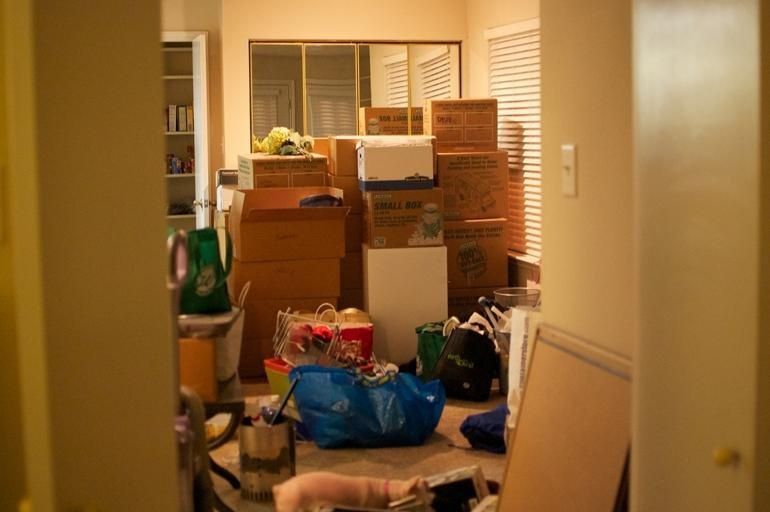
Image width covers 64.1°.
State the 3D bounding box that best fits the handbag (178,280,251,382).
[{"bbox_3d":[-0.791,0.414,3.095,0.330,0.538,0.301,2,10,-1],"label":"handbag"}]

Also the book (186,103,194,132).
[{"bbox_3d":[-2.077,-1.452,6.527,0.087,0.279,0.280,-1,5,-9],"label":"book"}]

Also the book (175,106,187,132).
[{"bbox_3d":[-2.172,-1.450,6.523,0.134,0.243,0.253,0,4,-8],"label":"book"}]

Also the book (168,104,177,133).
[{"bbox_3d":[-2.259,-1.449,6.521,0.110,0.290,0.113,-1,7,-1],"label":"book"}]

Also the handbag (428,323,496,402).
[{"bbox_3d":[0.539,0.687,4.196,0.289,0.456,0.429,10,4,10],"label":"handbag"}]

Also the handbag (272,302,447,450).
[{"bbox_3d":[-0.159,0.716,3.602,0.842,0.661,0.644,1,-4,-1],"label":"handbag"}]

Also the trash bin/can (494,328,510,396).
[{"bbox_3d":[0.809,0.742,4.161,0.131,0.402,0.139,-10,-16,37],"label":"trash bin/can"}]

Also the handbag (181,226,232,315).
[{"bbox_3d":[-0.752,0.066,2.457,0.258,0.347,0.223,0,7,-43],"label":"handbag"}]

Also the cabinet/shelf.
[{"bbox_3d":[-2.034,-1.274,6.306,0.428,1.948,1.225,-3,7,-19],"label":"cabinet/shelf"}]

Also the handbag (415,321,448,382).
[{"bbox_3d":[0.322,0.683,4.374,0.267,0.379,0.260,11,18,27],"label":"handbag"}]
